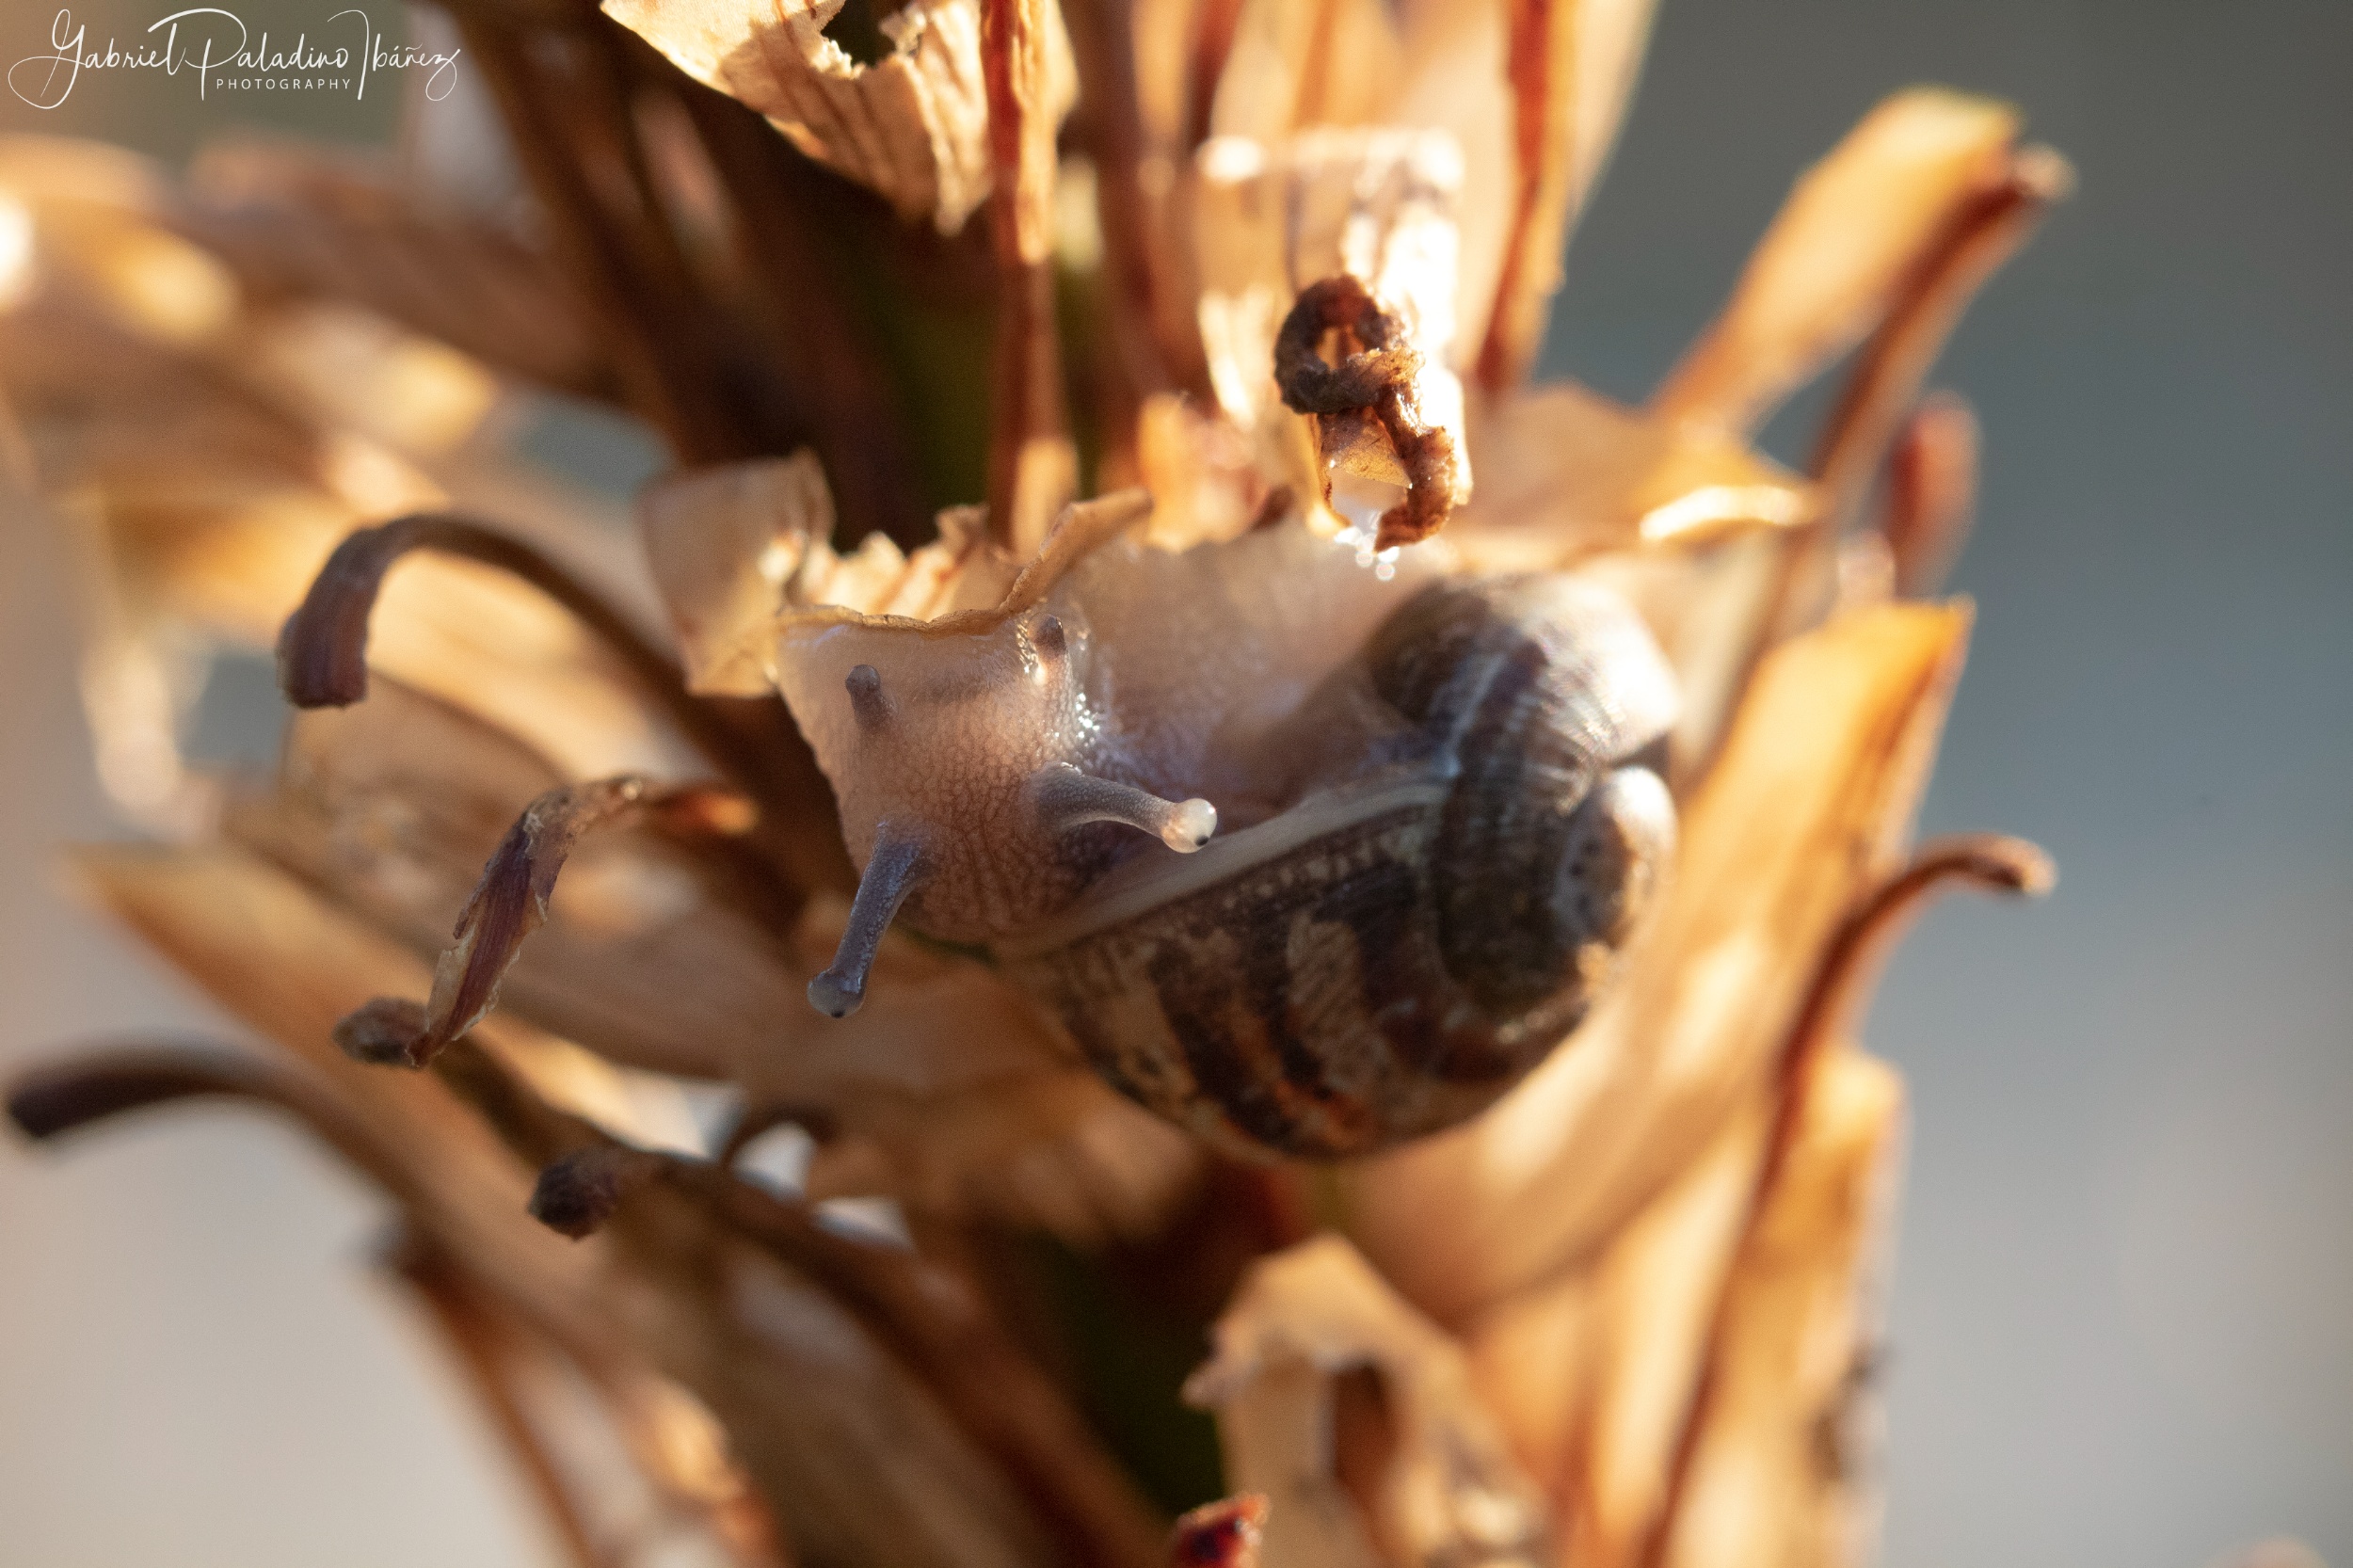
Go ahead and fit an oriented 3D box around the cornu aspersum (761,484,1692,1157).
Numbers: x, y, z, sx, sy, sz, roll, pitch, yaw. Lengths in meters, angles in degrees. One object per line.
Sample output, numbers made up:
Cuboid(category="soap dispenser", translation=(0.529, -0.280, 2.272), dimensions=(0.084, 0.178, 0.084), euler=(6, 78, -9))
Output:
Cuboid(category="cornu aspersum", translation=(0.034, -0.011, 1.047), dimensions=(0.215, 0.215, 0.356), euler=(-3, 25, 35))
